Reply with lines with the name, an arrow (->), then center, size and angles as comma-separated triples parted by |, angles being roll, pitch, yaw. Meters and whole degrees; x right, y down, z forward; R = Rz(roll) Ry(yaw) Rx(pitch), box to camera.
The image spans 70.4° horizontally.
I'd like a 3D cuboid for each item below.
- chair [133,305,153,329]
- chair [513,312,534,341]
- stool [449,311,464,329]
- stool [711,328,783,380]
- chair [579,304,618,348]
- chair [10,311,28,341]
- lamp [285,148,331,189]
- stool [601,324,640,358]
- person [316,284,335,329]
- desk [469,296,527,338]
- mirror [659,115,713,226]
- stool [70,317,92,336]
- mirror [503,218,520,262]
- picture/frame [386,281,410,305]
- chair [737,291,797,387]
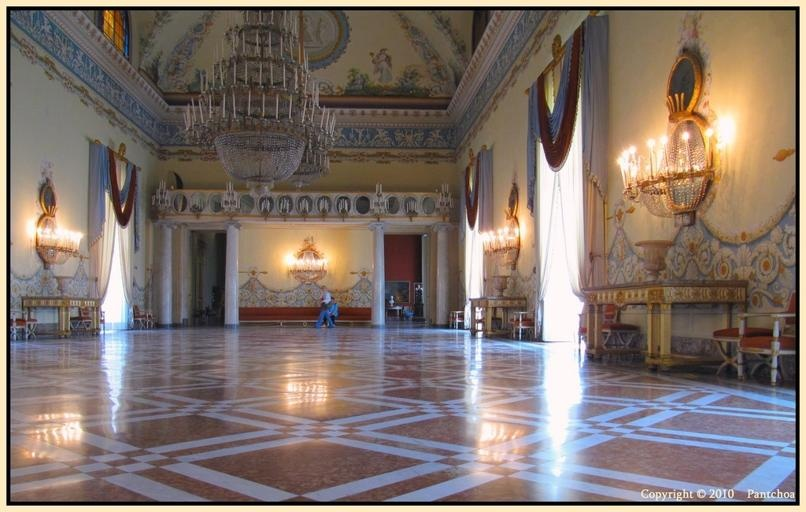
chair -> -9.195, 2.179, 20.320 | 0.628, 0.808, 1.264 | 3, -8, -20
chair -> 3.045, 1.804, 14.389 | 0.589, 0.946, 0.661 | 2, 1, -1
stool -> 1.986, 2.354, 20.983 | 0.621, 0.693, 0.546 | 8, -10, -40
stool -> 4.451, 1.139, 7.488 | 0.563, 0.631, 0.852 | -2, -4, 40
chair -> 3.537, 1.251, 10.272 | 0.742, 1.033, 0.716 | 1, -4, 2
chair -> -9.115, 1.652, 13.610 | 0.342, 0.708, 1.158 | 5, -8, -32
lamp -> -2.067, -1.935, 12.650 | 0.788, 0.876, 0.776 | 2, 0, -18
stool -> 3.805, 1.438, 9.896 | 0.516, 0.442, 0.862 | -1, -3, -4
person -> -2.886, 2.075, 22.257 | 0.952, 1.455, 0.648 | 3, -15, 19
desk -> 2.636, 1.668, 15.990 | 1.747, 0.806, 0.901 | -13, 9, 18
mirror -> 4.118, -1.307, 8.486 | 0.529, 1.655, 0.846 | 2, -6, -14
stool -> -9.325, 2.028, 16.575 | 0.507, 0.439, 0.286 | 1, -10, -3
mirror -> 2.953, -0.396, 15.437 | 0.359, 1.270, 0.694 | 1, -6, 0
picture/frame -> -0.274, 1.903, 30.218 | 1.252, 1.167, 0.087 | 0, 3, -9
chair -> 4.499, 1.021, 7.096 | 0.701, 1.089, 0.743 | 5, -7, -31
